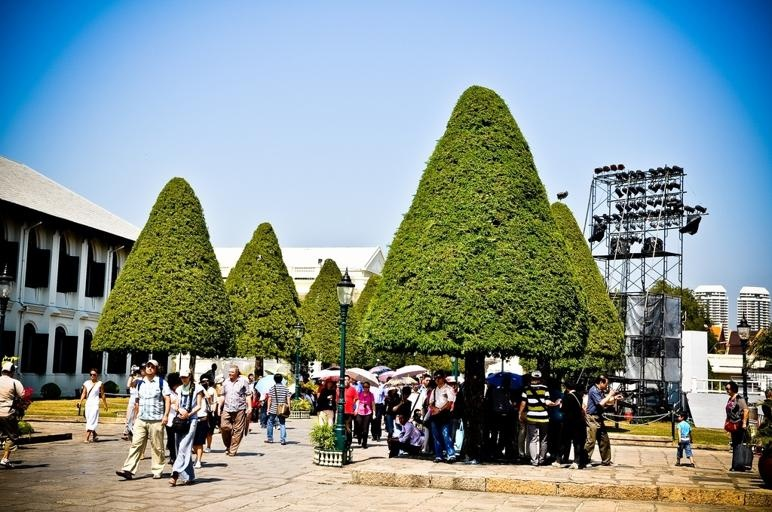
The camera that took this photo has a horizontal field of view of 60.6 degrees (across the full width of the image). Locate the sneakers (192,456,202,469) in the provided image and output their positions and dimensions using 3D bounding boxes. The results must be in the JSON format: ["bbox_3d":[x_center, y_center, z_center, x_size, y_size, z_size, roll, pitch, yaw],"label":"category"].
[{"bbox_3d":[-5.102,5.568,17.757,0.230,0.261,0.642,2,-22,-5],"label":"sneakers"}]

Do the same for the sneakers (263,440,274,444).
[{"bbox_3d":[-4.207,6.643,23.664,0.275,0.111,0.099,4,-5,15],"label":"sneakers"}]

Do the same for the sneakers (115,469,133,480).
[{"bbox_3d":[-6.099,5.099,15.407,0.398,0.148,0.140,31,-19,-11],"label":"sneakers"}]

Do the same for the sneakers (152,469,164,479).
[{"bbox_3d":[-5.458,5.188,15.774,0.195,0.194,0.325,5,-6,-30],"label":"sneakers"}]

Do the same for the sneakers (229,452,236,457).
[{"bbox_3d":[-4.576,5.863,19.577,0.120,0.116,0.330,2,-17,-6],"label":"sneakers"}]

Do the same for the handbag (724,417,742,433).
[{"bbox_3d":[10.028,4.911,19.149,0.371,0.374,0.420,-2,-23,12],"label":"handbag"}]

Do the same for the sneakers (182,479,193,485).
[{"bbox_3d":[-4.588,5.227,15.250,0.221,0.101,0.134,4,-13,-18],"label":"sneakers"}]

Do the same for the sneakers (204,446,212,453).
[{"bbox_3d":[-5.512,5.994,20.375,0.130,0.118,0.308,0,-15,-1],"label":"sneakers"}]

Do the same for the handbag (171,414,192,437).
[{"bbox_3d":[-4.754,3.980,15.566,0.485,0.627,0.346,1,-44,-5],"label":"handbag"}]
